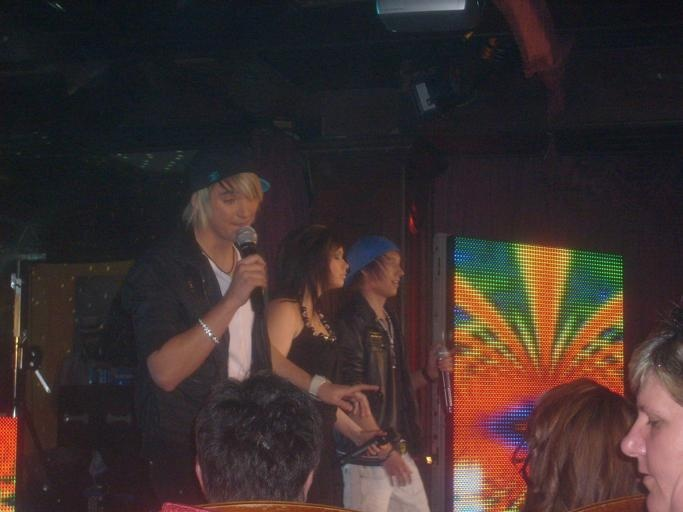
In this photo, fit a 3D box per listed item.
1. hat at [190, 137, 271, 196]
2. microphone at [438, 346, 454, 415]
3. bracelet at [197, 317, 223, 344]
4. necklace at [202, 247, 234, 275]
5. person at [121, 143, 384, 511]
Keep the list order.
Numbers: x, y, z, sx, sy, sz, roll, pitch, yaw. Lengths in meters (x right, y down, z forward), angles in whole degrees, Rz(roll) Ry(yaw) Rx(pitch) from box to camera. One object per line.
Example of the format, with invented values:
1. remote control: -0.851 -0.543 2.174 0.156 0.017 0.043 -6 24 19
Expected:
1. hat: -0.667 -0.529 4.466 0.410 0.271 0.504 -9 -3 -35
2. microphone: 0.568 0.678 3.956 0.066 0.359 0.071 1 -7 -30
3. bracelet: -0.679 0.394 3.837 0.079 0.130 0.162 -7 -9 39
4. necklace: -0.687 0.044 4.077 0.125 0.170 0.050 -11 -27 -45
5. person: -0.639 0.895 4.168 0.988 2.823 0.870 -9 9 -41
